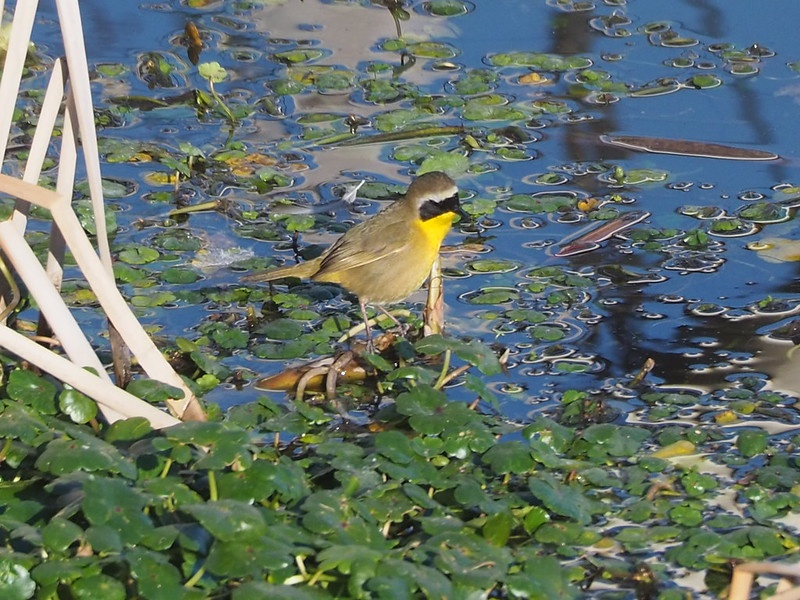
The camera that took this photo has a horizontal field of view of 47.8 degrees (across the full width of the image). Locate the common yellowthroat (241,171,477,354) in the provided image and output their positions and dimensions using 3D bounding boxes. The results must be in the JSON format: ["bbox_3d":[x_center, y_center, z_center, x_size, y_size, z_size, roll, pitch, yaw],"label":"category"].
[{"bbox_3d":[-0.207,-0.469,6.735,1.143,1.001,0.729,6,12,7],"label":"common yellowthroat"}]
